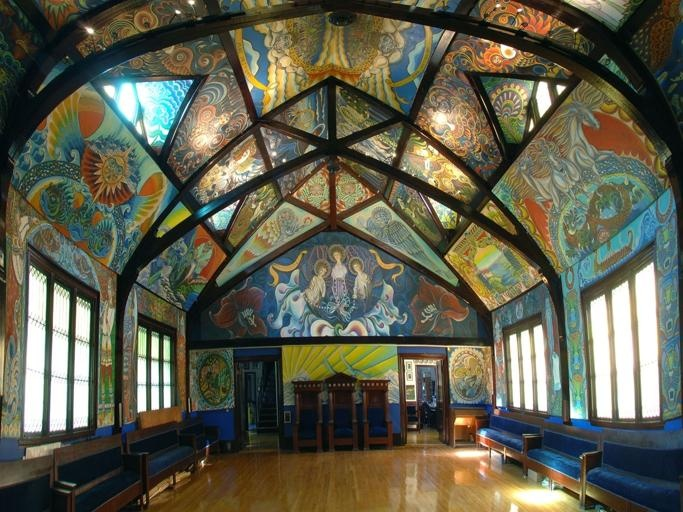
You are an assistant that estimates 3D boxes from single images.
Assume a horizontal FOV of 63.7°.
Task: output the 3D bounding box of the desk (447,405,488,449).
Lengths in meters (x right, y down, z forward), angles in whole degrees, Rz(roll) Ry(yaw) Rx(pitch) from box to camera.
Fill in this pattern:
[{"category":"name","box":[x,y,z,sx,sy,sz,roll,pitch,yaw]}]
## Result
[{"category":"desk","box":[3.764,4.949,16.376,0.959,1.118,0.813,3,4,2]}]
